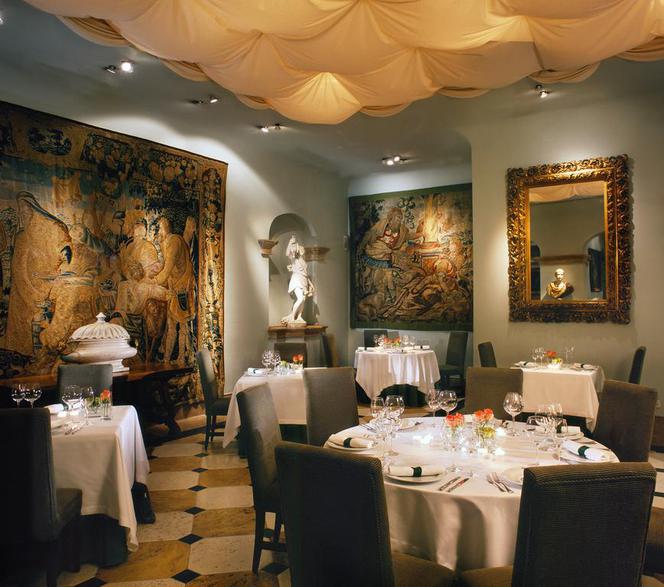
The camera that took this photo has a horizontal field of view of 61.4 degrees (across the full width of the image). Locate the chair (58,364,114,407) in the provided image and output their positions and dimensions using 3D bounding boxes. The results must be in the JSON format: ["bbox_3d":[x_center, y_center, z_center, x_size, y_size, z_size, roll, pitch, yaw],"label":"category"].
[{"bbox_3d":[-2.035,0.700,4.524,0.372,0.500,0.404,1,-3,1],"label":"chair"}]

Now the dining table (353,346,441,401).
[{"bbox_3d":[0.872,1.046,7.623,0.758,0.462,0.780,-1,-3,21],"label":"dining table"}]

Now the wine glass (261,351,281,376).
[{"bbox_3d":[-0.665,0.765,6.118,0.217,0.293,0.238,-1,-11,20],"label":"wine glass"}]

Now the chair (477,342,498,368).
[{"bbox_3d":[1.928,0.766,6.942,0.201,0.297,0.382,0,3,12],"label":"chair"}]

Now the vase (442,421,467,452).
[{"bbox_3d":[0.736,0.854,3.320,0.128,0.168,0.134,0,-2,-2],"label":"vase"}]

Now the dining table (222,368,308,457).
[{"bbox_3d":[-0.598,1.070,5.583,0.845,0.507,0.919,0,-3,13],"label":"dining table"}]

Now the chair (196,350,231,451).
[{"bbox_3d":[-1.149,1.173,6.134,0.579,1.116,0.537,-1,1,-5],"label":"chair"}]

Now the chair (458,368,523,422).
[{"bbox_3d":[1.218,0.726,4.281,0.349,0.581,0.395,2,-4,21],"label":"chair"}]

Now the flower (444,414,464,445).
[{"bbox_3d":[0.745,0.826,3.383,0.136,0.237,0.133,0,-4,2],"label":"flower"}]

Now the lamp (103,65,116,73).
[{"bbox_3d":[-2.354,-2.404,5.973,0.086,0.036,0.067,3,2,41],"label":"lamp"}]

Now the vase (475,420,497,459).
[{"bbox_3d":[0.863,0.845,3.198,0.109,0.166,0.115,0,-3,-26],"label":"vase"}]

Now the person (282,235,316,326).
[{"bbox_3d":[-0.565,-0.220,9.700,0.519,1.586,1.063,-1,3,-2],"label":"person"}]

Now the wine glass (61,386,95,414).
[{"bbox_3d":[-1.796,0.743,3.990,0.228,0.276,0.235,-1,1,-24],"label":"wine glass"}]

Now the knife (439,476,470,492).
[{"bbox_3d":[0.585,0.923,2.687,0.053,0.017,0.225,8,6,30],"label":"knife"}]

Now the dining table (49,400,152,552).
[{"bbox_3d":[-1.767,1.247,4.031,0.760,0.617,1.220,0,-1,-14],"label":"dining table"}]
